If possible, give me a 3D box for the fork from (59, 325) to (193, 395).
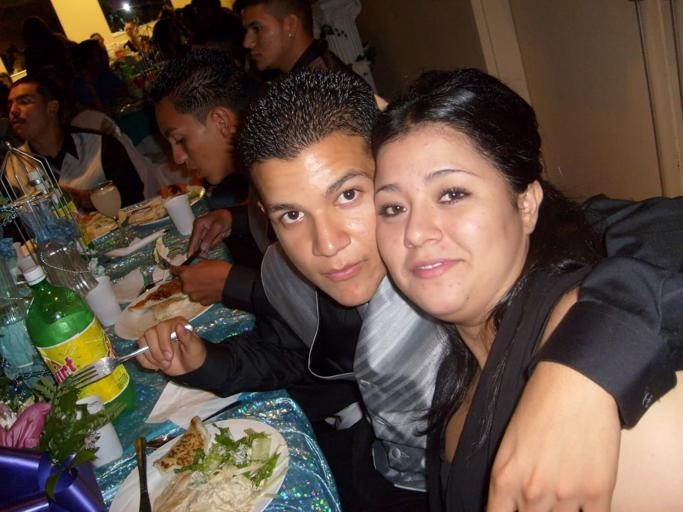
[{"bbox_3d":[-0.624,0.293,1.675,0.080,0.052,0.612,47,35,13],"label":"fork"}]
